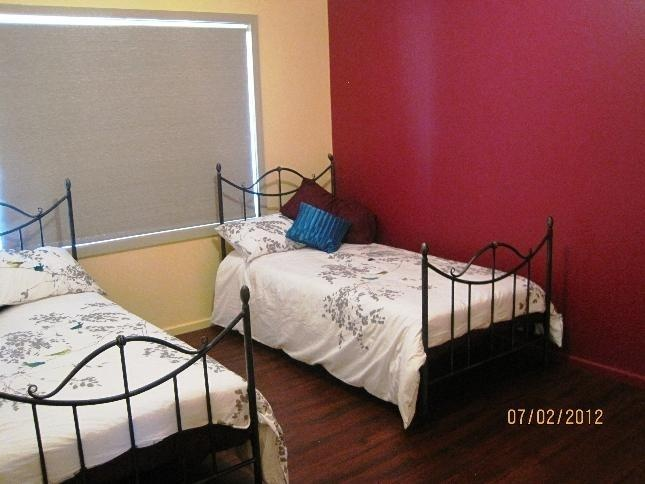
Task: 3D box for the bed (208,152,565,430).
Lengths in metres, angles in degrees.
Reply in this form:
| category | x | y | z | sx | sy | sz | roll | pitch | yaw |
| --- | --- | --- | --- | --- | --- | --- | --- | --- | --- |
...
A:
| category | x | y | z | sx | sy | sz | roll | pitch | yaw |
| --- | --- | --- | --- | --- | --- | --- | --- | --- | --- |
| bed | 0.386 | 0.057 | 3.605 | 1.279 | 1.310 | 1.778 | -12 | 15 | -38 |

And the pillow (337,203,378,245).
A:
| category | x | y | z | sx | sy | sz | roll | pitch | yaw |
| --- | --- | --- | --- | --- | --- | --- | --- | --- | --- |
| pillow | 0.294 | -0.161 | 4.305 | 0.309 | 0.334 | 0.146 | 3 | -13 | -32 |
